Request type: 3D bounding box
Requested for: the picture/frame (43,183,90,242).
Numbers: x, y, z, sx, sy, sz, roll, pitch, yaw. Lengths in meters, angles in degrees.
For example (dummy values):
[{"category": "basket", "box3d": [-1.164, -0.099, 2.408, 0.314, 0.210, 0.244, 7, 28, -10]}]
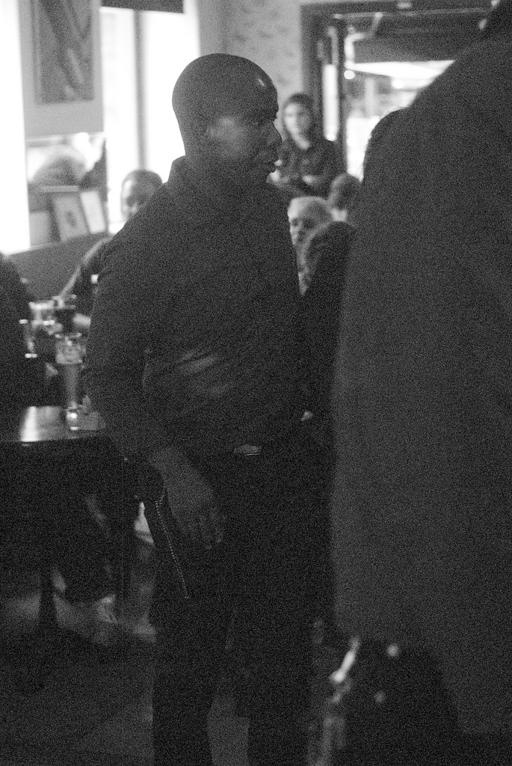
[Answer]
[{"category": "picture/frame", "box3d": [-0.291, -0.280, 1.289, 0.081, 0.109, 0.024, -8, 10, 6]}]
